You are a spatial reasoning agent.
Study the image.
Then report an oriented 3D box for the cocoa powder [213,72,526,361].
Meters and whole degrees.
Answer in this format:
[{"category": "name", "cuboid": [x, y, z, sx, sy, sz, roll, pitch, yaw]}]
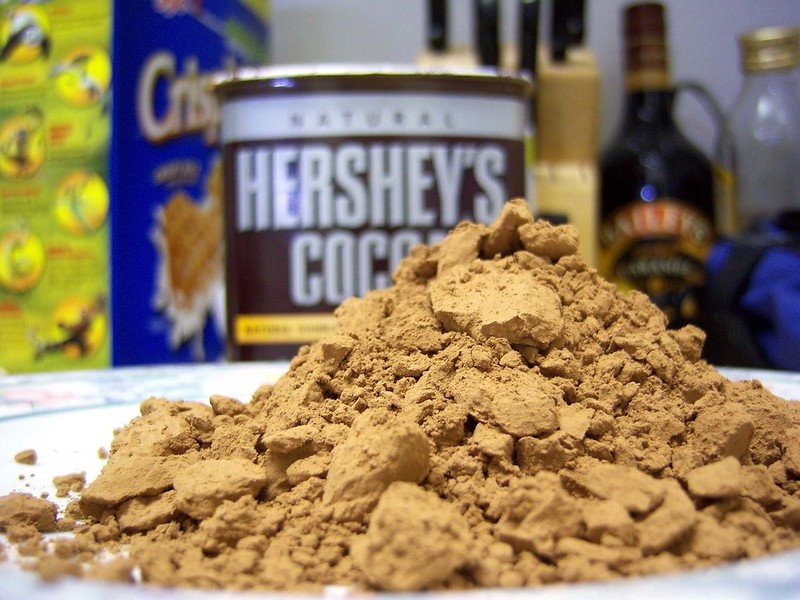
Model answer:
[{"category": "cocoa powder", "cuboid": [-0.035, -0.024, 1.395, 0.480, 0.579, 0.309, 0, 10, -2]}]
